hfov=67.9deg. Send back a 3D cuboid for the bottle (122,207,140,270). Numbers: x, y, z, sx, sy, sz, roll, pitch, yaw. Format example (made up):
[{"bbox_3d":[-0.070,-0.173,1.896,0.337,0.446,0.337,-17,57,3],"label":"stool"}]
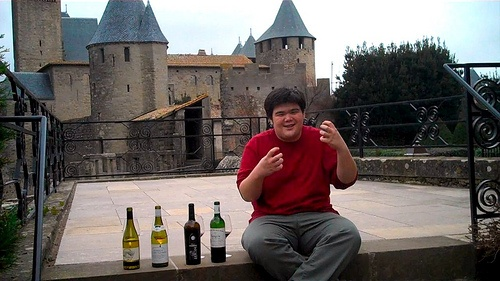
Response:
[{"bbox_3d":[-1.142,0.922,3.562,0.155,0.599,0.236,-2,2,-18],"label":"bottle"}]

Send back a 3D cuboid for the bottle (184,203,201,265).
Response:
[{"bbox_3d":[-0.561,0.903,3.629,0.156,0.611,0.224,-1,2,-11],"label":"bottle"}]

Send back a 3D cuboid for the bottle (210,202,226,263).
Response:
[{"bbox_3d":[-0.317,0.898,3.678,0.146,0.608,0.184,-1,2,-1],"label":"bottle"}]
